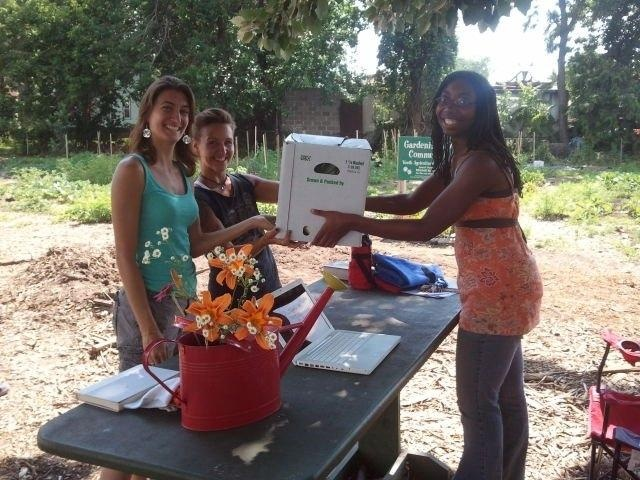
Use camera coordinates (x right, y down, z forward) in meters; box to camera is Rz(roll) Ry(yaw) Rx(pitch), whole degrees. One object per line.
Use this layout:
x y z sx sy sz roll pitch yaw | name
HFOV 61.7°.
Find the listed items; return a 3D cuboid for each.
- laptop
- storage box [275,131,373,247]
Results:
0.029 0.385 2.632 0.443 0.278 0.431 -1 12 30 | laptop
0.003 -0.285 3.020 0.557 0.563 0.553 8 8 2 | storage box
